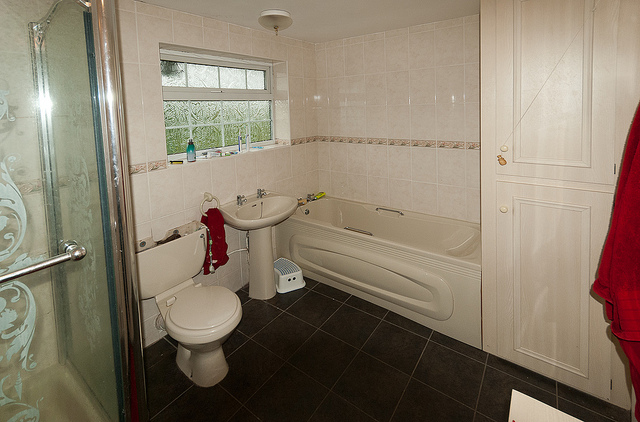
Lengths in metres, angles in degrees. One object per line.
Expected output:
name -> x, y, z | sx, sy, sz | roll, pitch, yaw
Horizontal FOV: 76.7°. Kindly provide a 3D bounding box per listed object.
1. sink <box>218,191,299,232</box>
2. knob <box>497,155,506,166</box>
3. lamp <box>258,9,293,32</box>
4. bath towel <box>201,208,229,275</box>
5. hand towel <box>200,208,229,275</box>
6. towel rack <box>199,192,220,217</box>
sink -> -0.580, 0.035, 3.750 | 0.770, 0.318, 0.496 | -18, 25, -42
knob -> 1.257, -0.350, 2.818 | 0.041, 0.071, 0.019 | -40, -15, 29
lamp -> -0.369, -1.569, 3.349 | 0.278, 0.150, 0.243 | -7, 19, -18
bath towel -> -0.852, 0.233, 3.380 | 0.133, 0.469, 0.343 | 3, 8, 29
hand towel -> -0.866, 0.221, 3.399 | 0.134, 0.477, 0.340 | 0, 6, 20
towel rack -> -0.965, -0.058, 3.521 | 0.181, 0.211, 0.069 | -9, 4, -14
